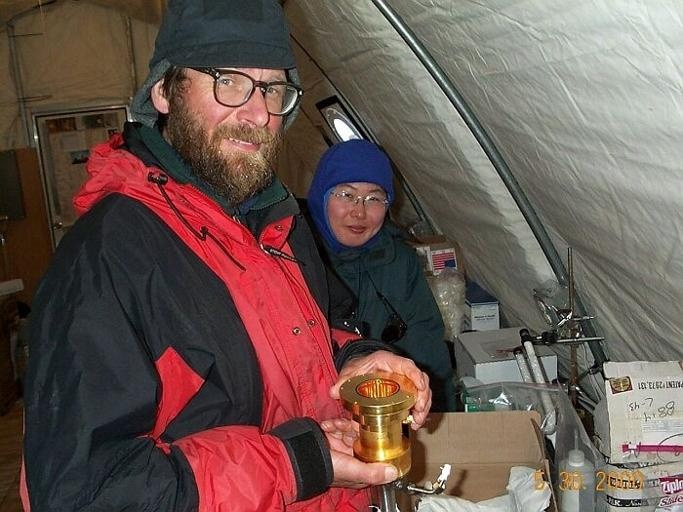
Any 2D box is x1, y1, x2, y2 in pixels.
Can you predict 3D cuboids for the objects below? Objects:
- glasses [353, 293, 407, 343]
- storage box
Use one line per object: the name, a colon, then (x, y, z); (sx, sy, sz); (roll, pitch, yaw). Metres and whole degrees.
glasses: (0.158, 0.267, 2.437); (0.145, 0.250, 0.095); (-42, -28, 20)
storage box: (0.447, 0.627, 1.791); (0.407, 0.388, 0.234); (1, -42, 3)
